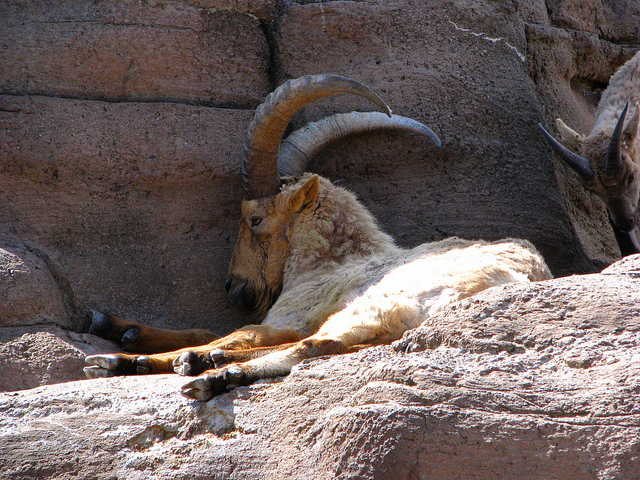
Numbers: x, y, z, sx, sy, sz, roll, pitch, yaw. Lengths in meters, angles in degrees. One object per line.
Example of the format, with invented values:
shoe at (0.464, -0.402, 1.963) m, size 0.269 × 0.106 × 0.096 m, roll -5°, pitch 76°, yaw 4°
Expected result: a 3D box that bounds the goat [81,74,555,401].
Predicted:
goat at (0.080, 0.003, 16.701) m, size 4.811 × 3.018 × 2.733 m, roll -3°, pitch -8°, yaw 9°
